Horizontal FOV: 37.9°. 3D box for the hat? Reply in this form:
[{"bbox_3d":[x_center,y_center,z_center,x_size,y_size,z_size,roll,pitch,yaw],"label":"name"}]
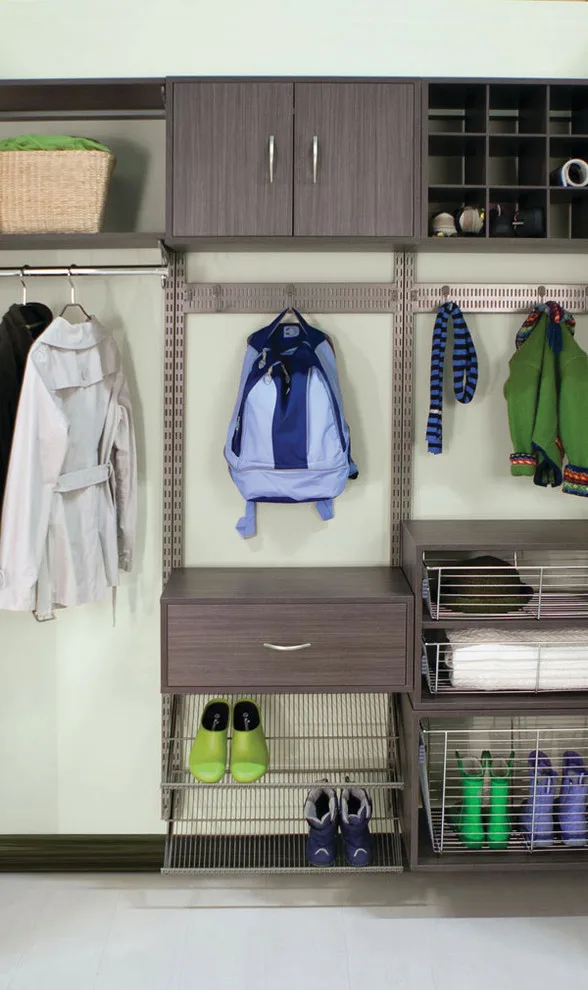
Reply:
[{"bbox_3d":[0.475,0.237,2.159,0.144,0.071,0.182,-2,4,-1],"label":"hat"}]

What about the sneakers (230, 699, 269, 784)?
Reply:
[{"bbox_3d":[-0.123,0.639,2.248,0.071,0.070,0.220,-1,27,-3],"label":"sneakers"}]

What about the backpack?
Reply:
[{"bbox_3d":[-0.015,-0.222,2.300,0.324,0.641,0.157,0,0,1],"label":"backpack"}]

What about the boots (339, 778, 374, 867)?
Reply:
[{"bbox_3d":[0.176,0.843,2.360,0.080,0.190,0.283,-4,31,4],"label":"boots"}]

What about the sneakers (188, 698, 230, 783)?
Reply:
[{"bbox_3d":[-0.225,0.652,2.271,0.071,0.066,0.246,3,35,-2],"label":"sneakers"}]

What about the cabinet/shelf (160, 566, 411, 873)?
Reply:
[{"bbox_3d":[-0.034,0.599,2.261,0.637,0.859,0.445,-1,6,-1],"label":"cabinet/shelf"}]
